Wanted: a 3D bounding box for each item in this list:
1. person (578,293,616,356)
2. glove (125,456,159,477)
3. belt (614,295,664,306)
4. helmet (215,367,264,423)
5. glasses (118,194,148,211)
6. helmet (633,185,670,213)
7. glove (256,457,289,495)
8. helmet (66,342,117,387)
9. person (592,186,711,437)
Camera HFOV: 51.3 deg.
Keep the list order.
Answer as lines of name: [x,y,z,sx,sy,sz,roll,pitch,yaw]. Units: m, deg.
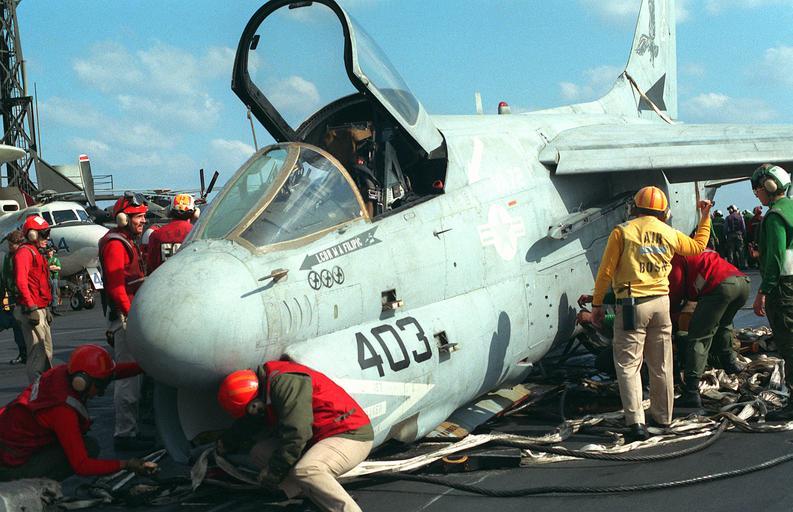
person: [2.689,0.931,10.954,0.335,0.758,0.601,-2,8,-35]
glove: [-2.858,2.350,9.253,0.343,0.176,0.126,4,3,-11]
belt: [2.907,0.537,9.861,0.522,0.107,0.201,-6,-4,22]
helmet: [-1.682,1.441,8.744,0.521,0.436,0.398,-16,37,-35]
glasses: [-3.499,-0.662,10.820,0.304,0.154,0.237,-21,-3,36]
helmet: [3.134,-0.634,10.099,0.301,0.298,0.369,1,-45,25]
glove: [-1.289,2.310,8.669,0.310,0.371,0.520,-4,-4,-9]
helmet: [-3.475,1.244,9.389,0.613,0.452,0.429,3,5,-2]
person: [2.981,0.672,9.948,1.160,2.979,0.398,-5,-5,9]
